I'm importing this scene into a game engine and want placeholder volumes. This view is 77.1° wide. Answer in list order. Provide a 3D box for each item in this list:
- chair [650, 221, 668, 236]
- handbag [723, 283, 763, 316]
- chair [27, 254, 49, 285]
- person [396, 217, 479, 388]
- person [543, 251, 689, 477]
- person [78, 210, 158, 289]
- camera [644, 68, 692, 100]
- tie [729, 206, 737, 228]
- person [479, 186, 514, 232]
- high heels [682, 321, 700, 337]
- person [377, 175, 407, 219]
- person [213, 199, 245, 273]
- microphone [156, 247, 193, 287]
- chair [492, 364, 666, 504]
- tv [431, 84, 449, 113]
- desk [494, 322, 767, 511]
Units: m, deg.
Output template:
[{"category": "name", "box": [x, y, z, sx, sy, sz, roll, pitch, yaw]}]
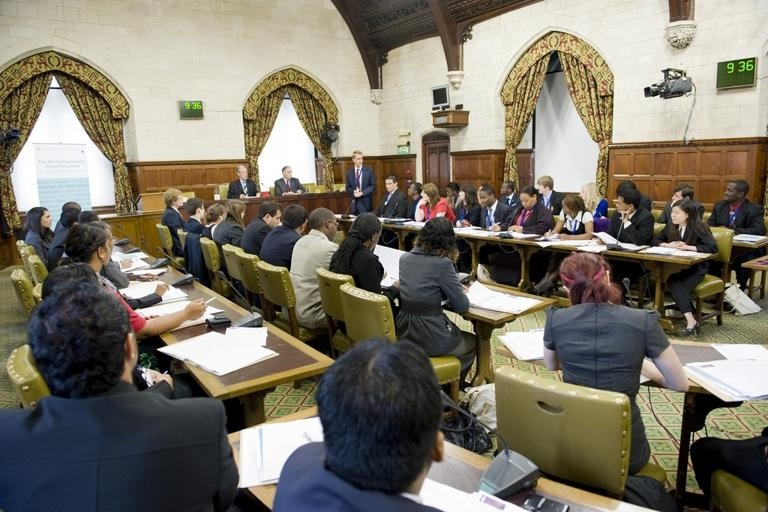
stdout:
[{"category": "chair", "box": [3.170, -0.302, 5.569, 0.175, 0.241, 0.211, 0, -1, 8]}, {"category": "handbag", "box": [3.898, 0.480, 5.223, 0.300, 0.124, 0.319, 46, 24, 13]}, {"category": "chair", "box": [-3.091, 0.123, 4.253, 0.155, 0.225, 0.162, -13, 55, -44]}, {"category": "person", "box": [0.407, 0.452, 3.540, 0.710, 1.387, 0.539, -9, 15, -36]}, {"category": "person", "box": [1.179, 0.687, 2.494, 0.582, 1.413, 0.690, 1, 28, 25]}, {"category": "person", "box": [-2.534, -0.093, 4.609, 0.988, 0.241, 0.414, 30, 28, 37]}, {"category": "camera", "box": [3.934, -2.308, 6.646, 0.567, 0.380, 0.374, -2, 9, 11]}, {"category": "tie", "box": [4.178, -0.467, 5.744, 0.040, 0.176, 0.126, 1, 4, 27]}, {"category": "person", "box": [1.594, -0.647, 6.848, 0.305, 0.904, 0.402, 3, 24, 38]}, {"category": "high heels", "box": [2.949, 0.695, 4.600, 0.098, 0.071, 0.174, -6, 5, 9]}, {"category": "person", "box": [0.118, -0.966, 8.516, 0.464, 0.875, 0.632, 0, 5, -31]}, {"category": "person", "box": [-1.721, -0.125, 5.226, 0.353, 0.837, 0.284, -2, 35, -23]}, {"category": "microphone", "box": [-2.092, 0.108, 4.796, 0.242, 0.318, 0.830, -6, 12, -36]}, {"category": "chair", "box": [0.878, 0.768, 2.168, 0.615, 0.750, 0.653, -2, 18, 24]}, {"category": "tv", "box": [1.162, -3.263, 10.012, 0.190, 0.482, 0.526, -10, 14, -36]}, {"category": "desk", "box": [1.467, 0.803, 3.091, 1.114, 1.090, 0.847, 0, -2, 42]}]
